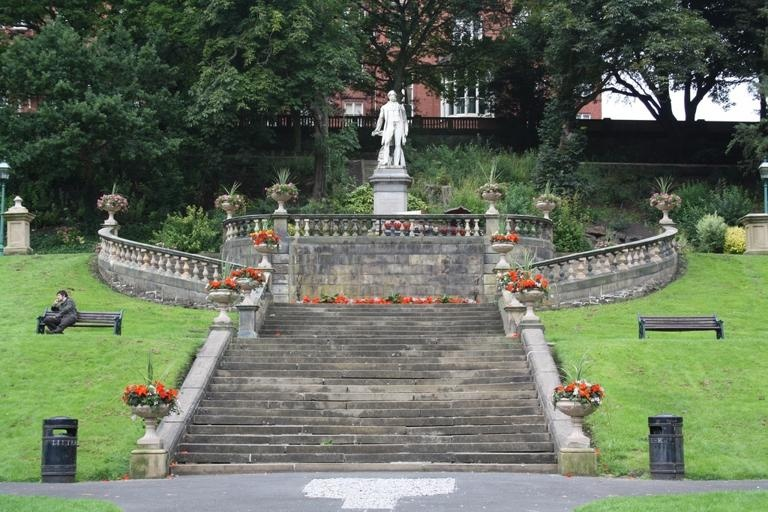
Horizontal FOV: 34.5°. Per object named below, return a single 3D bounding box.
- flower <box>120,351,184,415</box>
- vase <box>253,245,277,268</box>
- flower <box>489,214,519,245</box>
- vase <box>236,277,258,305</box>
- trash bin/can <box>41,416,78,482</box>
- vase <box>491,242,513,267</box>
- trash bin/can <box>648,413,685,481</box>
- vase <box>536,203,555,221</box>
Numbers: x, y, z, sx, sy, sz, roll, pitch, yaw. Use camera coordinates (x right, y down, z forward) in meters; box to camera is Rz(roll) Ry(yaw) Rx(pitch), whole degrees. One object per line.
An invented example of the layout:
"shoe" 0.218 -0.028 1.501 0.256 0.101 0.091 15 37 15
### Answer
"flower" -7.315 4.141 39.063 1.670 1.688 0.707 -2 5 -13
"vase" -4.570 -0.076 48.649 0.958 0.942 0.980 4 -6 -24
"flower" 4.810 -1.067 49.174 1.154 1.085 1.133 0 0 -8
"vase" -4.933 1.257 45.218 0.883 0.890 0.914 1 -6 2
"trash bin/can" -10.036 6.059 38.872 0.983 2.055 1.222 9 -7 -39
"vase" 4.694 -0.016 49.062 0.939 1.034 0.968 2 -5 -3
"trash bin/can" 8.756 5.890 38.464 1.075 1.953 0.484 0 5 7
"vase" 7.226 -2.098 54.674 0.926 0.889 0.908 2 -5 -5
